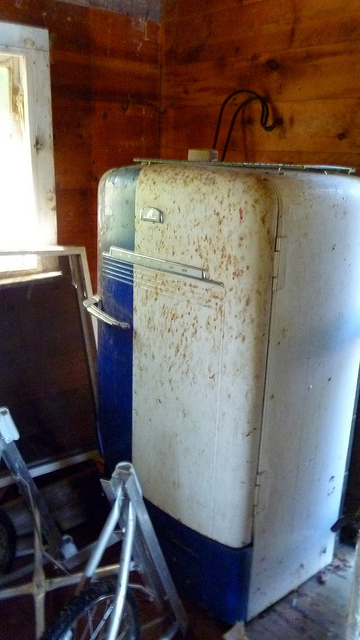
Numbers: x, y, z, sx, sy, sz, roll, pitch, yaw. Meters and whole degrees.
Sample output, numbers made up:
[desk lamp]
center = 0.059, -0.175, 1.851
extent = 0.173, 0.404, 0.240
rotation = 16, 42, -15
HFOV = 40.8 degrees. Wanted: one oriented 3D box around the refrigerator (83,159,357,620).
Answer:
[refrigerator]
center = 0.090, 0.217, 1.453
extent = 0.829, 1.308, 0.480
rotation = 12, 20, 24
